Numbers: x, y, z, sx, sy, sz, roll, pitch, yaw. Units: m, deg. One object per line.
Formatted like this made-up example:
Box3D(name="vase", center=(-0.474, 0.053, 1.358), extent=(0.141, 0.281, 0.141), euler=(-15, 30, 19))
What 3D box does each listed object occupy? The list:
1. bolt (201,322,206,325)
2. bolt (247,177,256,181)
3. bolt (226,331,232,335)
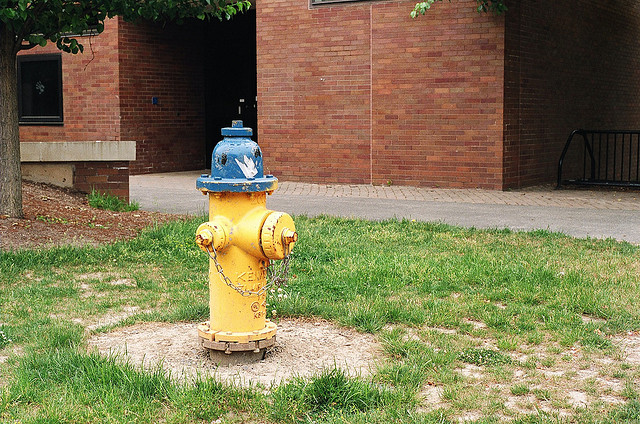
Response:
Box3D(name="bolt", center=(-1.309, 1.258, 9.455), extent=(0.046, 0.018, 0.046), euler=(0, 3, -9))
Box3D(name="bolt", center=(-0.744, -0.362, 9.178), extent=(0.094, 0.033, 0.044), euler=(0, 5, -17))
Box3D(name="bolt", center=(-0.992, 1.323, 9.184), extent=(0.062, 0.024, 0.061), euler=(0, 5, -8))
